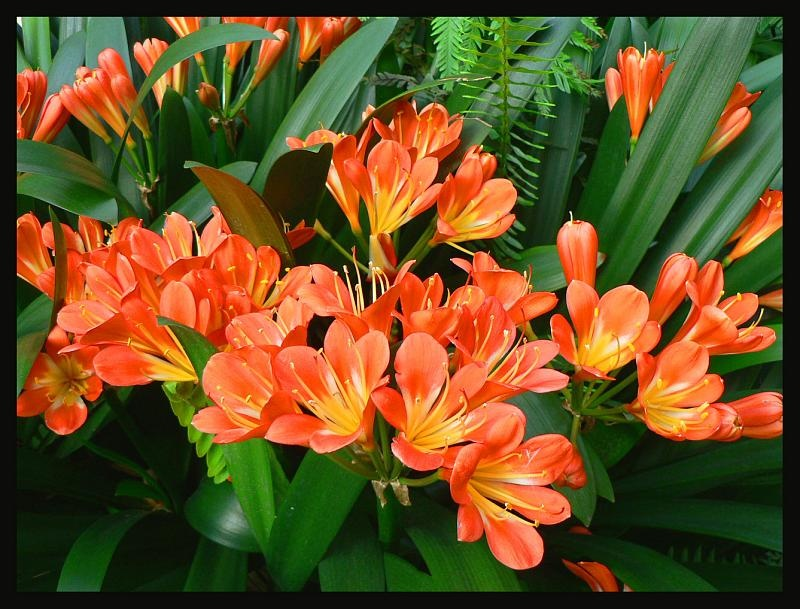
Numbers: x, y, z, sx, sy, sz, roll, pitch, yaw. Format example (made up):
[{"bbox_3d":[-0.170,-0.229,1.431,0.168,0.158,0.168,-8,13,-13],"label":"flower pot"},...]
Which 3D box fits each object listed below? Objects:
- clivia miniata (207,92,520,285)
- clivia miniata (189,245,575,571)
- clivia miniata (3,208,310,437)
[{"bbox_3d":[-0.030,-0.101,0.617,0.214,0.105,0.192,-10,52,-14],"label":"clivia miniata"},{"bbox_3d":[0.005,0.093,0.604,0.337,0.210,0.229,25,57,14],"label":"clivia miniata"},{"bbox_3d":[-0.231,-0.001,0.644,0.242,0.112,0.235,4,91,14],"label":"clivia miniata"}]
